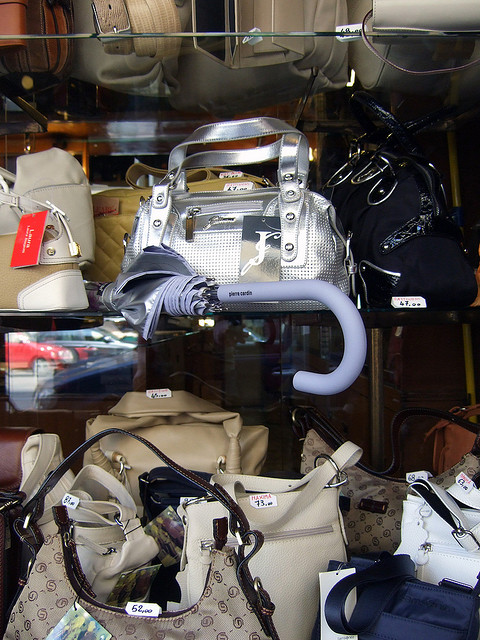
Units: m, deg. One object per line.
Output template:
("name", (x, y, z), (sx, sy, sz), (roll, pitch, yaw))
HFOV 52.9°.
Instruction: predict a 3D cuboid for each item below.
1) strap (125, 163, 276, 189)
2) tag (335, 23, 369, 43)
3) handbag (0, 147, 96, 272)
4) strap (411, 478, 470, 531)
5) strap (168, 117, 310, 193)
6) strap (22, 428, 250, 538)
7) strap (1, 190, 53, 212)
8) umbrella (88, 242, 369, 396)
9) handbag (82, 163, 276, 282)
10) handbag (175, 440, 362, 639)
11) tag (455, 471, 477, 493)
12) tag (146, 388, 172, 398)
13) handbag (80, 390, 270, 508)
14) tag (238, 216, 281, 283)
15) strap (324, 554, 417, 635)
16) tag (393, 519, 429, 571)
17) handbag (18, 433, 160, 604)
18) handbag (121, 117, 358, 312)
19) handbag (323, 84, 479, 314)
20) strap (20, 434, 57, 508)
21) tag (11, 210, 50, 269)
("strap", (-0.100, -0.292, 0.962), (0.211, 0.048, 0.127), (2, 8, 11))
("tag", (0.157, -0.394, 0.671), (0.046, 0.014, 0.030), (0, 3, 0))
("handbag", (-0.274, -0.195, 0.885), (0.221, 0.208, 0.166), (-3, -1, -1))
("strap", (0.213, 0.195, 0.505), (0.071, 0.028, 0.024), (40, -13, 32))
("strap", (-0.017, -0.288, 0.827), (0.260, 0.061, 0.265), (-10, 5, 0))
("strap", (-0.116, 0.178, 0.494), (0.248, 0.141, 0.040), (-4, 25, 11))
("strap", (-0.307, -0.167, 0.680), (0.054, 0.016, 0.041), (14, 13, 26))
("umbrella", (-0.048, -0.032, 0.678), (0.502, 0.191, 0.150), (9, 5, 33))
("handbag", (-0.097, -0.146, 0.742), (0.273, 0.215, 0.105), (1, -2, 6))
("handbag", (0.034, 0.234, 0.504), (0.195, 0.203, 0.094), (0, -4, -5))
("tag", (0.257, 0.185, 0.546), (0.019, 0.019, 0.005), (45, 10, 17))
("tag", (-0.136, 0.122, 0.811), (0.027, 0.009, 0.019), (-2, 1, 2))
("handbag", (-0.114, 0.225, 0.761), (0.297, 0.237, 0.131), (3, 11, 6))
("tag", (0.027, -0.094, 0.645), (0.057, 0.085, 0.039), (2, 11, 5))
("strap", (0.123, 0.239, 0.449), (0.038, 0.035, 0.098), (46, 27, 21))
("tag", (0.190, 0.242, 0.511), (0.013, 0.048, 0.038), (23, 9, -38))
("handbag", (-0.143, 0.243, 0.553), (0.080, 0.139, 0.103), (-6, 1, -34))
("handbag", (-0.007, -0.148, 0.725), (0.363, 0.283, 0.161), (0, 4, 21))
("handbag", (0.266, -0.199, 0.775), (0.179, 0.337, 0.359), (-13, 24, -3))
("strap", (-0.253, 0.181, 0.610), (0.024, 0.061, 0.045), (11, -5, -43))
("tag", (-0.288, -0.110, 0.663), (0.050, 0.078, 0.036), (4, 12, 16))
